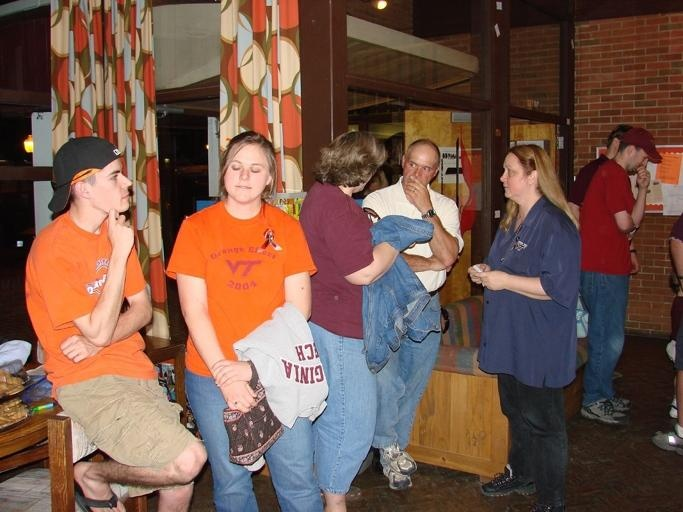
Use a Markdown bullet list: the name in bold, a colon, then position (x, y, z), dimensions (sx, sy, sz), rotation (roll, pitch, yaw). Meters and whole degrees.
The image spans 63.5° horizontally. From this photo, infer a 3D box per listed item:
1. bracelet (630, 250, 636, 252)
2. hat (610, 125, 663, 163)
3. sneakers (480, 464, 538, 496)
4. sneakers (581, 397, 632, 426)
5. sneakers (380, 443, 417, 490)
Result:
- **bracelet**: position (3.109, -0.059, 5.906), dimensions (0.031, 0.012, 0.034), rotation (-3, 12, 0)
- **hat**: position (2.690, -0.988, 4.986), dimensions (0.388, 0.227, 0.269), rotation (23, 21, 13)
- **sneakers**: position (1.101, 1.498, 3.718), dimensions (0.368, 0.190, 0.159), rotation (1, 6, -2)
- **sneakers**: position (2.266, 1.324, 4.746), dimensions (0.391, 0.203, 0.160), rotation (3, 13, 25)
- **sneakers**: position (0.379, 1.411, 3.689), dimensions (0.152, 0.161, 0.399), rotation (0, -7, -16)
